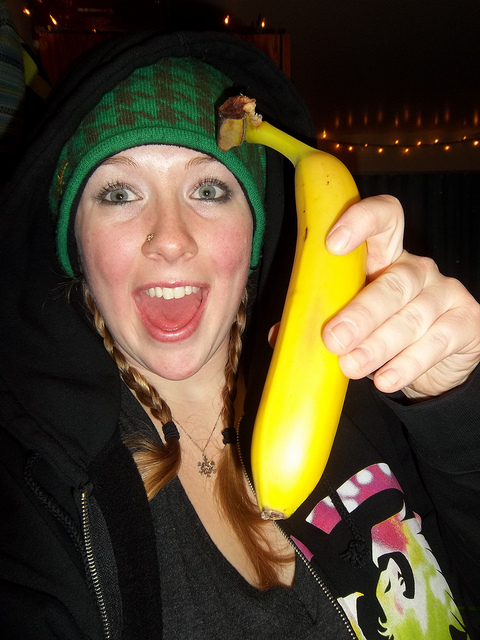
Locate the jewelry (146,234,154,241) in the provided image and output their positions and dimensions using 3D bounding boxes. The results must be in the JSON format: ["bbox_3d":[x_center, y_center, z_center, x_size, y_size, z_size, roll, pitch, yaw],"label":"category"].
[{"bbox_3d":[-0.206,-0.190,1.212,0.004,0.016,0.010,10,48,-44],"label":"jewelry"}]
